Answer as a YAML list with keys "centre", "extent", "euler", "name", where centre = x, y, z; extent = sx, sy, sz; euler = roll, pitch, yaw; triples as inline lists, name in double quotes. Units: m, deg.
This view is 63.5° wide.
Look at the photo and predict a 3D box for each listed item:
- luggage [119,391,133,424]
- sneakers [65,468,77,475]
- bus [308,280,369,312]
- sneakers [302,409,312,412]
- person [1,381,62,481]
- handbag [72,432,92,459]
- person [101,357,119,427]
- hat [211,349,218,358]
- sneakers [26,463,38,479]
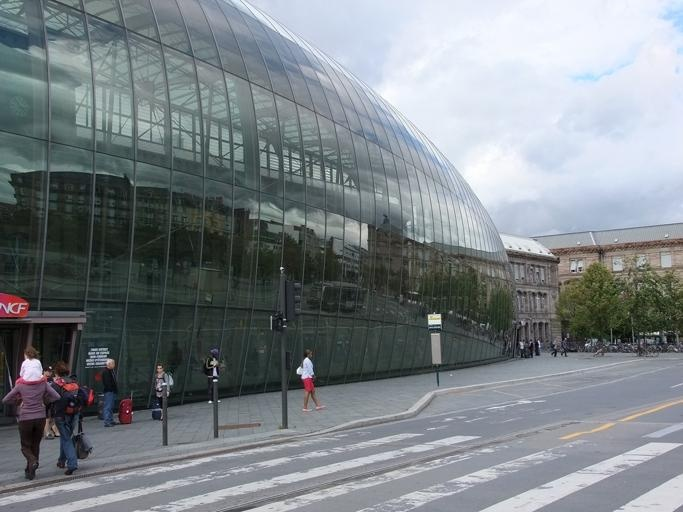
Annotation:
- centre: [-6.362, 4.601, 16.248]
  extent: [0.378, 0.597, 0.398]
  euler: [2, 0, -25]
  name: "luggage"
- centre: [-5.347, 4.245, 10.870]
  extent: [0.262, 0.117, 0.102]
  euler: [-3, -14, 3]
  name: "sneakers"
- centre: [-0.230, 1.927, 26.102]
  extent: [0.077, 1.361, 4.161]
  euler: [3, 0, 39]
  name: "bus"
- centre: [-1.089, 5.038, 18.097]
  extent: [0.300, 0.131, 0.108]
  euler: [-2, -4, 13]
  name: "sneakers"
- centre: [-6.059, 3.349, 10.800]
  extent: [0.885, 1.314, 0.737]
  euler: [2, 0, -30]
  name: "person"
- centre: [-5.208, 3.795, 11.053]
  extent: [0.455, 0.362, 0.229]
  euler: [3, 0, 42]
  name: "handbag"
- centre: [-6.779, 3.958, 16.077]
  extent: [0.397, 1.427, 0.801]
  euler: [2, 1, -24]
  name: "person"
- centre: [-4.628, 3.516, 20.105]
  extent: [0.243, 0.306, 0.295]
  euler: [8, -5, 43]
  name: "hat"
- centre: [-5.940, 4.121, 10.569]
  extent: [0.127, 0.393, 0.156]
  euler: [14, -3, -27]
  name: "sneakers"
